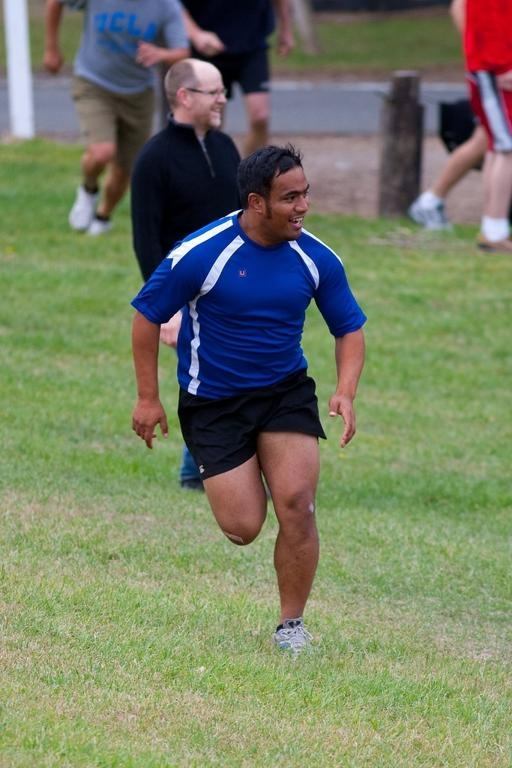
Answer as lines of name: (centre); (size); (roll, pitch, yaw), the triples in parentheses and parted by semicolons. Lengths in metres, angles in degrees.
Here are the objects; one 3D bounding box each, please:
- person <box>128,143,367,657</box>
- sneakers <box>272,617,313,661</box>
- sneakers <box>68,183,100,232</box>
person: (-0.054, 0.033, 3.061); (0.729, 1.511, 0.417); (11, 11, 4)
sneakers: (0.114, 0.772, 2.973); (0.065, 0.065, 0.159); (1, 2, -3)
sneakers: (-0.779, -0.784, 4.471); (0.086, 0.214, 0.092); (8, 20, -18)
